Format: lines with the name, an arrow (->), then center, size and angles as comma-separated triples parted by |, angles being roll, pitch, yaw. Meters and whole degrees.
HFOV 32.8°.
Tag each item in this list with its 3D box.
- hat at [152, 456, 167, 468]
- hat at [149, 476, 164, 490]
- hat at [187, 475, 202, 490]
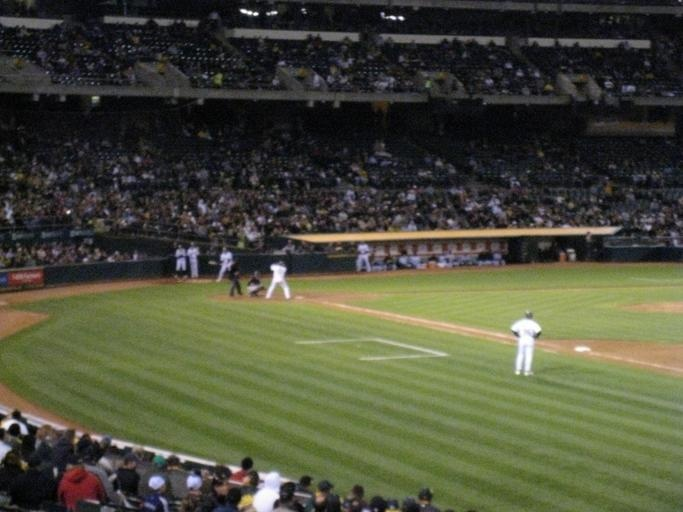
hat -> -5.734, 6.457, 36.195 | 0.323, 0.149, 0.426 | 3, 18, -8
hat -> -5.684, 6.916, 35.473 | 0.373, 0.380, 0.461 | 16, 23, 37
hat -> -4.517, 6.942, 35.415 | 0.444, 0.488, 0.311 | 4, 0, -10
